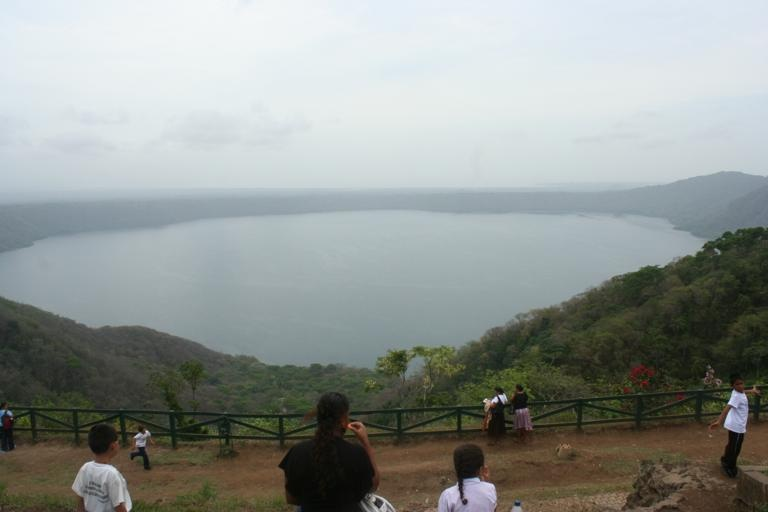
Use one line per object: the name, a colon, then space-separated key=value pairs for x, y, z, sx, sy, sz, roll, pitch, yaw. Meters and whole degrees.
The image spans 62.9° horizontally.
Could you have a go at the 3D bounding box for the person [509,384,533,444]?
person: x=6.078 y=6.901 z=27.707 sx=0.974 sy=2.460 sz=0.610 roll=0 pitch=-3 yaw=-4

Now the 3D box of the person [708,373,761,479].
person: x=12.897 y=6.216 z=23.212 sx=0.989 sy=3.572 sz=1.347 roll=-2 pitch=-3 yaw=27

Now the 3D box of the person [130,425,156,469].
person: x=-10.600 y=8.222 z=27.313 sx=0.788 sy=1.871 sz=1.398 roll=1 pitch=-3 yaw=-21

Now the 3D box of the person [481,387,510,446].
person: x=4.934 y=6.964 z=27.770 sx=1.011 sy=2.350 sz=0.583 roll=-1 pitch=-3 yaw=6
